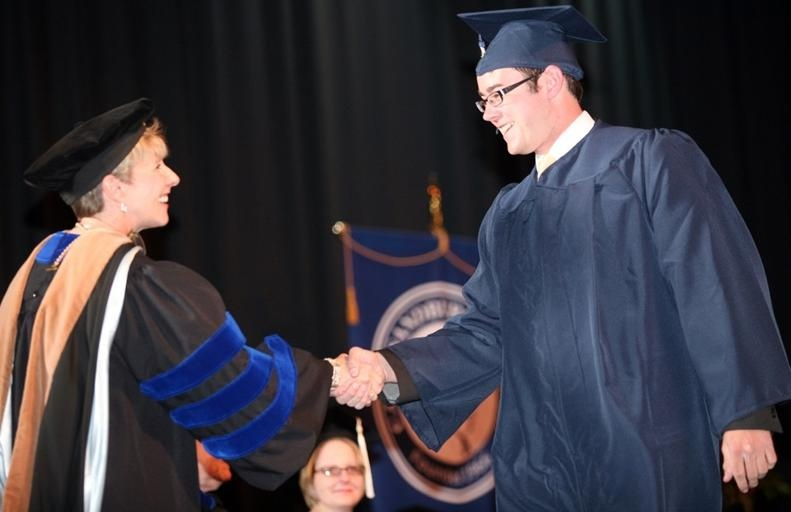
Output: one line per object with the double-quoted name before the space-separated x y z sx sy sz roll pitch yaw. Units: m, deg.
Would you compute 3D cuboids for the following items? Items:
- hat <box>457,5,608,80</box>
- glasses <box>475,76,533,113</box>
"hat" 0.693 -1.133 6.923 0.503 0.231 0.578 2 -4 -37
"glasses" 0.561 -0.838 6.871 0.212 0.059 0.201 -28 3 -22
